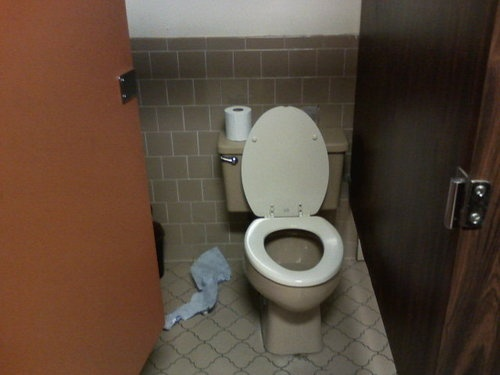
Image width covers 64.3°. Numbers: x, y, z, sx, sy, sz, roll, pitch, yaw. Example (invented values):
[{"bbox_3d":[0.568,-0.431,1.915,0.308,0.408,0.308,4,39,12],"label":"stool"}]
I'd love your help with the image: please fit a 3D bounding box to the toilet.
[{"bbox_3d":[0.193,0.179,1.998,0.658,1.028,0.816,-3,29,-5],"label":"toilet"}]
